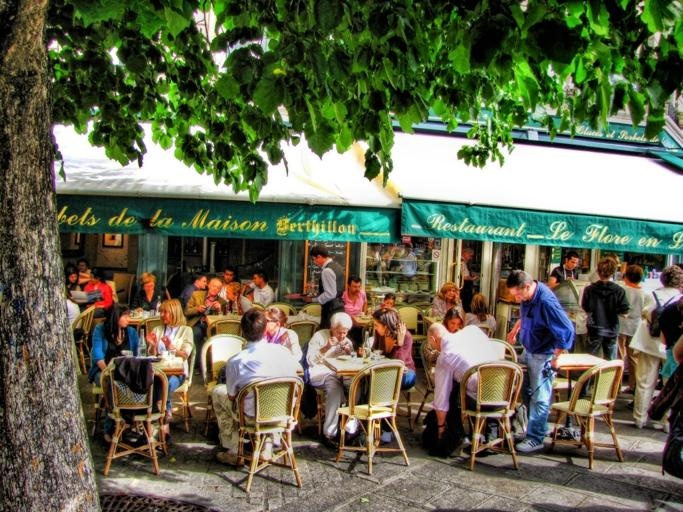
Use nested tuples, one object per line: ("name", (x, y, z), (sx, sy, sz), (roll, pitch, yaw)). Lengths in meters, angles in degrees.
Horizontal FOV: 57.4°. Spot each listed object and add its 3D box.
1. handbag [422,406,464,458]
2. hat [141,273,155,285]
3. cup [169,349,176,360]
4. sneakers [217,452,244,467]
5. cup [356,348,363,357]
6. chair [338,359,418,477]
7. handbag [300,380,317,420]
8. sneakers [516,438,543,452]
("handbag", (1.274, 2.187, 7.863), (0.339, 0.647, 0.217), (-1, -13, 25))
("hat", (-3.401, 0.389, 11.040), (0.169, 0.230, 0.223), (1, 1, -24))
("cup", (-2.216, 1.280, 8.210), (0.082, 0.132, 0.085), (0, -5, 0))
("sneakers", (-1.336, 2.380, 7.417), (0.260, 0.118, 0.166), (1, -9, 29))
("cup", (0.259, 1.311, 8.505), (0.088, 0.098, 0.086), (1, 3, 0))
("chair", (0.392, 1.854, 7.643), (1.001, 1.254, 0.874), (-3, 8, -31))
("handbag", (-0.435, 1.904, 8.304), (0.334, 0.497, 0.401), (1, 5, -3))
("sneakers", (2.403, 2.429, 8.073), (0.353, 0.174, 0.150), (4, -6, -14))
